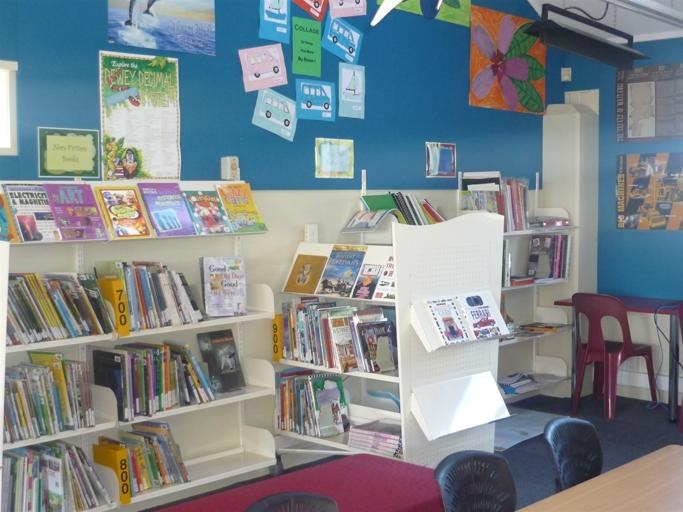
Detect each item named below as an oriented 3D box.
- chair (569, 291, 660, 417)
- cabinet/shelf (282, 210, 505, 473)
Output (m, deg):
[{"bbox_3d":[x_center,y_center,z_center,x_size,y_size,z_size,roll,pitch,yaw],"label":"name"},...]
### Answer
[{"bbox_3d":[2.536,0.890,5.377,0.651,1.122,0.610,-4,3,-24],"label":"chair"},{"bbox_3d":[0.439,0.588,3.649,1.111,1.637,1.134,-4,8,-31],"label":"cabinet/shelf"}]
